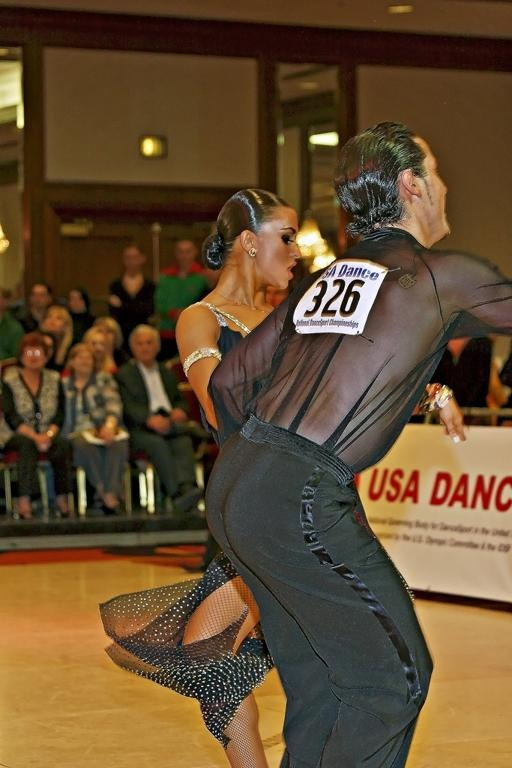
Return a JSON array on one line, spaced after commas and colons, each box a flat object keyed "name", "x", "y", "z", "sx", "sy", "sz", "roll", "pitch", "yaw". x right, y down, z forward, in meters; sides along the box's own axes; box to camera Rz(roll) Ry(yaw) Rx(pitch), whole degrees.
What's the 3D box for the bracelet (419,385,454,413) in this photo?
[{"name": "bracelet", "x": 0.372, "y": 0.031, "z": 1.577, "sx": 0.065, "sy": 0.025, "sz": 0.057, "roll": -38, "pitch": -16, "yaw": 37}]
